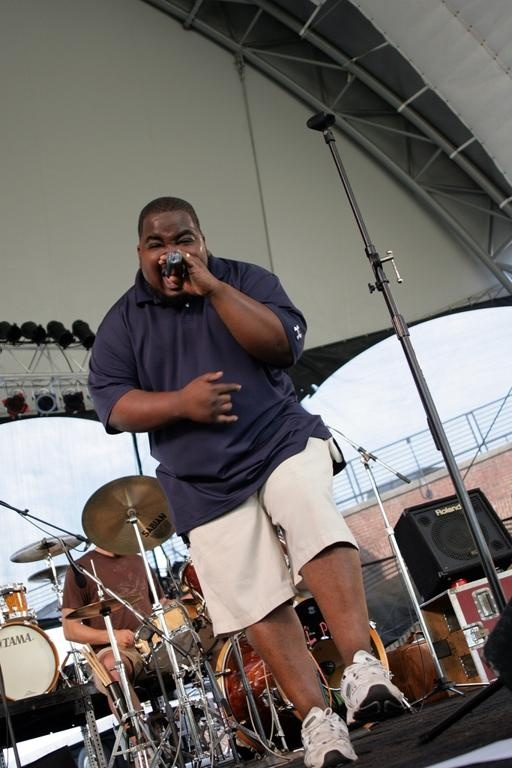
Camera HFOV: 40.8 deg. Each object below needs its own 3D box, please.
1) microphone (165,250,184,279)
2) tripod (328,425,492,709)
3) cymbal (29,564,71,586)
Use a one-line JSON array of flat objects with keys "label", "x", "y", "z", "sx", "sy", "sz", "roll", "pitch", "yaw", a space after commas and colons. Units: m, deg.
[{"label": "microphone", "x": -0.183, "y": -0.283, "z": 1.618, "sx": 0.049, "sy": 0.058, "sz": 0.063, "roll": -1, "pitch": -6, "yaw": -6}, {"label": "tripod", "x": 0.724, "y": 0.686, "z": 3.299, "sx": 0.799, "sy": 1.309, "sz": 0.654, "roll": 1, "pitch": -4, "yaw": -23}, {"label": "cymbal", "x": -1.564, "y": 1.423, "z": 5.123, "sx": 0.343, "sy": 0.072, "sz": 0.309, "roll": -13, "pitch": -24, "yaw": -3}]
